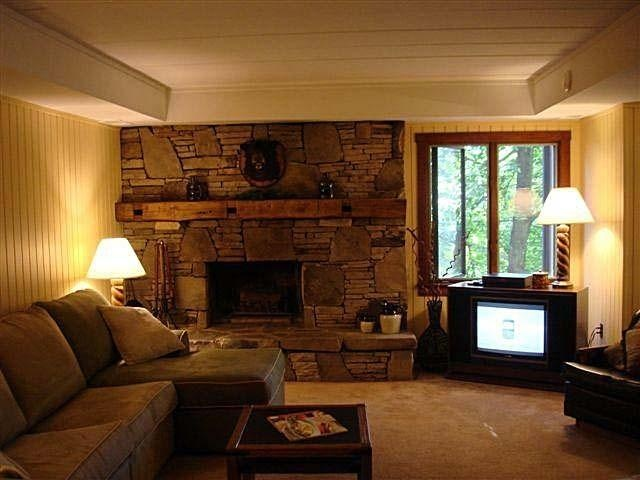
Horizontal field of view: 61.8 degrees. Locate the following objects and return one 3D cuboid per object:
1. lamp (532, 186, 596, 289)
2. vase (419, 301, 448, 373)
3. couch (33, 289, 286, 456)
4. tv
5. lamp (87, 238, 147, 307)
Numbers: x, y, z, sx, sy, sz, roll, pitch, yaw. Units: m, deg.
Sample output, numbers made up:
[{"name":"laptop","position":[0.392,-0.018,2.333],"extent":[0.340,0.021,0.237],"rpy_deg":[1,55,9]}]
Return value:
[{"name":"lamp","position":[2.548,-0.050,5.574],"extent":[0.505,0.975,0.682],"rpy_deg":[3,9,26]},{"name":"vase","position":[1.247,1.047,5.892],"extent":[0.325,0.759,0.253],"rpy_deg":[4,10,31]},{"name":"couch","position":[-1.240,1.045,4.462],"extent":[1.734,1.027,0.946],"rpy_deg":[0,3,-4]},{"name":"tv","position":[2.088,0.937,5.569],"extent":[0.455,0.688,0.860],"rpy_deg":[5,-6,-38]},{"name":"lamp","position":[-1.924,0.299,5.421],"extent":[0.632,0.935,0.648],"rpy_deg":[-2,5,-14]}]
